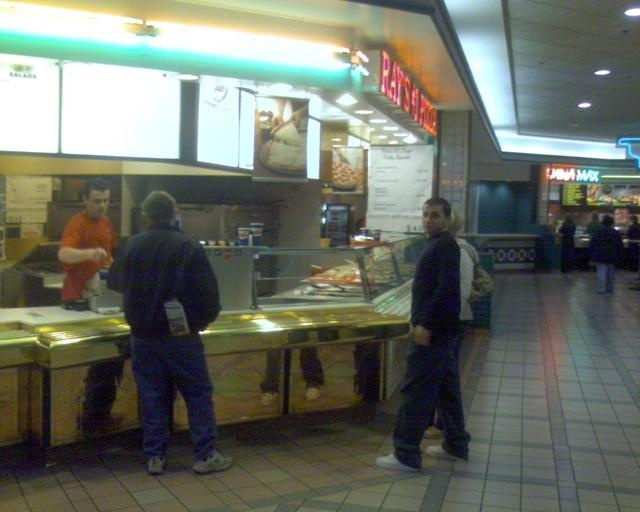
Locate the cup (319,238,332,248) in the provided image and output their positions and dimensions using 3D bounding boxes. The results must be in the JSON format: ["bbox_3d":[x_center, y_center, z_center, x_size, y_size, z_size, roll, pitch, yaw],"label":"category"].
[{"bbox_3d":[0.080,-0.207,8.001,0.173,0.161,0.166,1,10,0],"label":"cup"}]

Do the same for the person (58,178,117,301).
[{"bbox_3d":[-1.704,-0.089,3.791,0.386,0.945,0.922,1,6,-21],"label":"person"}]

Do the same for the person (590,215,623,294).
[{"bbox_3d":[6.000,-0.060,10.869,0.571,1.618,0.749,6,7,28],"label":"person"}]

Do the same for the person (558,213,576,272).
[{"bbox_3d":[7.291,-0.399,15.269,0.453,1.642,0.795,6,6,24],"label":"person"}]

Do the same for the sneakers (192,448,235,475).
[{"bbox_3d":[-0.639,1.226,3.161,0.264,0.116,0.118,-3,8,-35],"label":"sneakers"}]

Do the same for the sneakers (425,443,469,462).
[{"bbox_3d":[0.824,1.265,3.395,0.269,0.087,0.092,5,0,23],"label":"sneakers"}]

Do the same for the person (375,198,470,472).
[{"bbox_3d":[0.687,0.477,3.212,0.497,1.684,0.341,-2,8,-42],"label":"person"}]

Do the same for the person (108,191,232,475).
[{"bbox_3d":[-0.886,0.571,3.069,0.739,1.444,0.254,2,6,-8],"label":"person"}]

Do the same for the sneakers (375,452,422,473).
[{"bbox_3d":[0.479,1.280,3.232,0.291,0.091,0.097,3,-3,13],"label":"sneakers"}]

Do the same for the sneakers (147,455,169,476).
[{"bbox_3d":[-0.969,1.233,3.050,0.078,0.051,0.140,1,-1,-5],"label":"sneakers"}]
